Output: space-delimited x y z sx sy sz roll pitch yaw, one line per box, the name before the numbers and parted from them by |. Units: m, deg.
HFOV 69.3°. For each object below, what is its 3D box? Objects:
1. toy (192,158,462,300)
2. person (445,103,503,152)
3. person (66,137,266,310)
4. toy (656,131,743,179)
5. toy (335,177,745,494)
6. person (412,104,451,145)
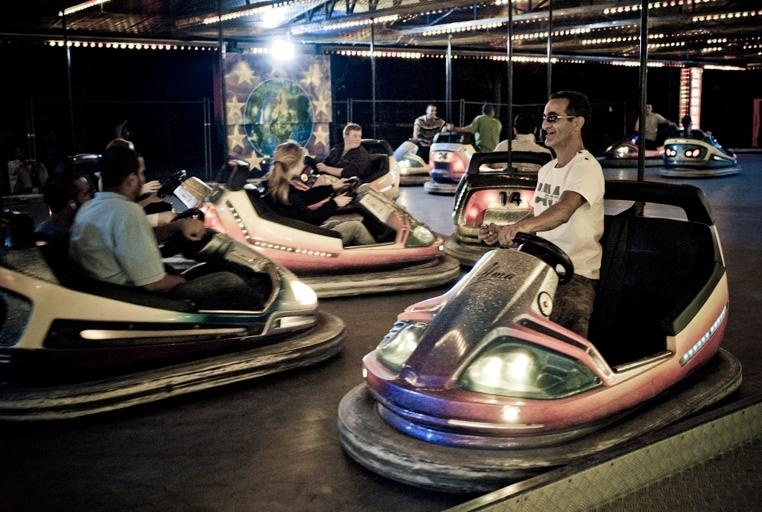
toy | -0.363 -0.191 4.195 1.715 0.610 1.120 3 8 -24
person | 1.775 -2.095 9.722 0.998 1.161 0.720 -4 13 -20
person | -0.947 -0.151 2.809 1.151 0.732 0.554 -3 13 -40
toy | 6.548 -2.033 11.118 1.013 0.556 1.427 8 13 44
toy | 0.730 0.205 2.404 1.920 0.810 1.163 -12 16 -39
person | 0.958 -2.577 10.873 0.730 0.772 0.619 2 11 -21
